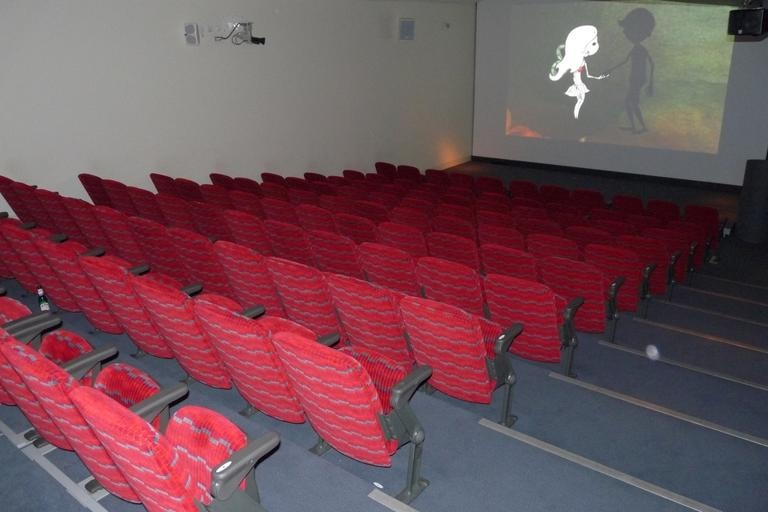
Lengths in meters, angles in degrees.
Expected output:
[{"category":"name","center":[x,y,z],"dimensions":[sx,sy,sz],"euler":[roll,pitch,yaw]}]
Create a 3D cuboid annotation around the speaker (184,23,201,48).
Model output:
[{"category":"speaker","center":[-3.472,-3.958,8.223],"dimensions":[0.300,0.369,0.170],"euler":[-17,27,-23]}]
